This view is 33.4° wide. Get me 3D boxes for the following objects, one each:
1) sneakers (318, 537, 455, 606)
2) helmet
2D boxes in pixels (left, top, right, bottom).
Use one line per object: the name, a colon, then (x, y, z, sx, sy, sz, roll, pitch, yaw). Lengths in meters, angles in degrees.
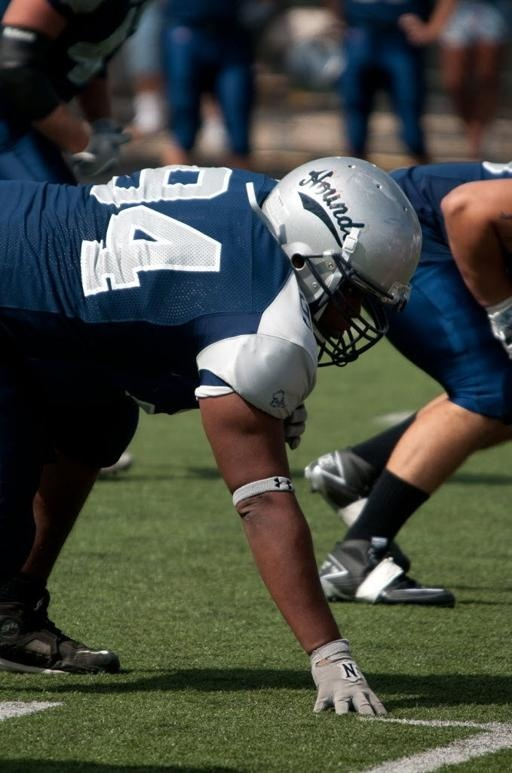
sneakers: (0.396, 0.507, 2.359, 0.457, 0.160, 0.148, 1, -2, 12)
helmet: (0.148, -0.289, 1.566, 0.331, 0.242, 0.217, 25, 24, -4)
